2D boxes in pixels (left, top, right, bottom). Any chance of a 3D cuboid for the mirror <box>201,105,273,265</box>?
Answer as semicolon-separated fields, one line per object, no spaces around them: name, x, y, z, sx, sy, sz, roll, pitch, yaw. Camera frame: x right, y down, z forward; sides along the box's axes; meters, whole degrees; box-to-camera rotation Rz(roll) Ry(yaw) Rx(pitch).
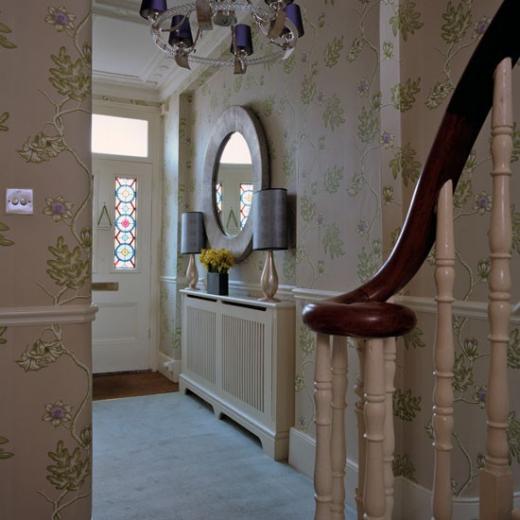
mirror;-0.173;-0.579;3.731;0.094;1.677;1.114;0;-3;-24

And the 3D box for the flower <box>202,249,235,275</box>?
flower;-0.341;0.019;3.775;0.310;0.190;0.277;-1;-1;12

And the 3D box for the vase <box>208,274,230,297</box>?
vase;-0.332;0.193;3.751;0.113;0.286;0.233;0;-1;-37

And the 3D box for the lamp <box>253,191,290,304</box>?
lamp;0.070;-0.088;3.051;0.212;0.523;0.335;0;0;-2
